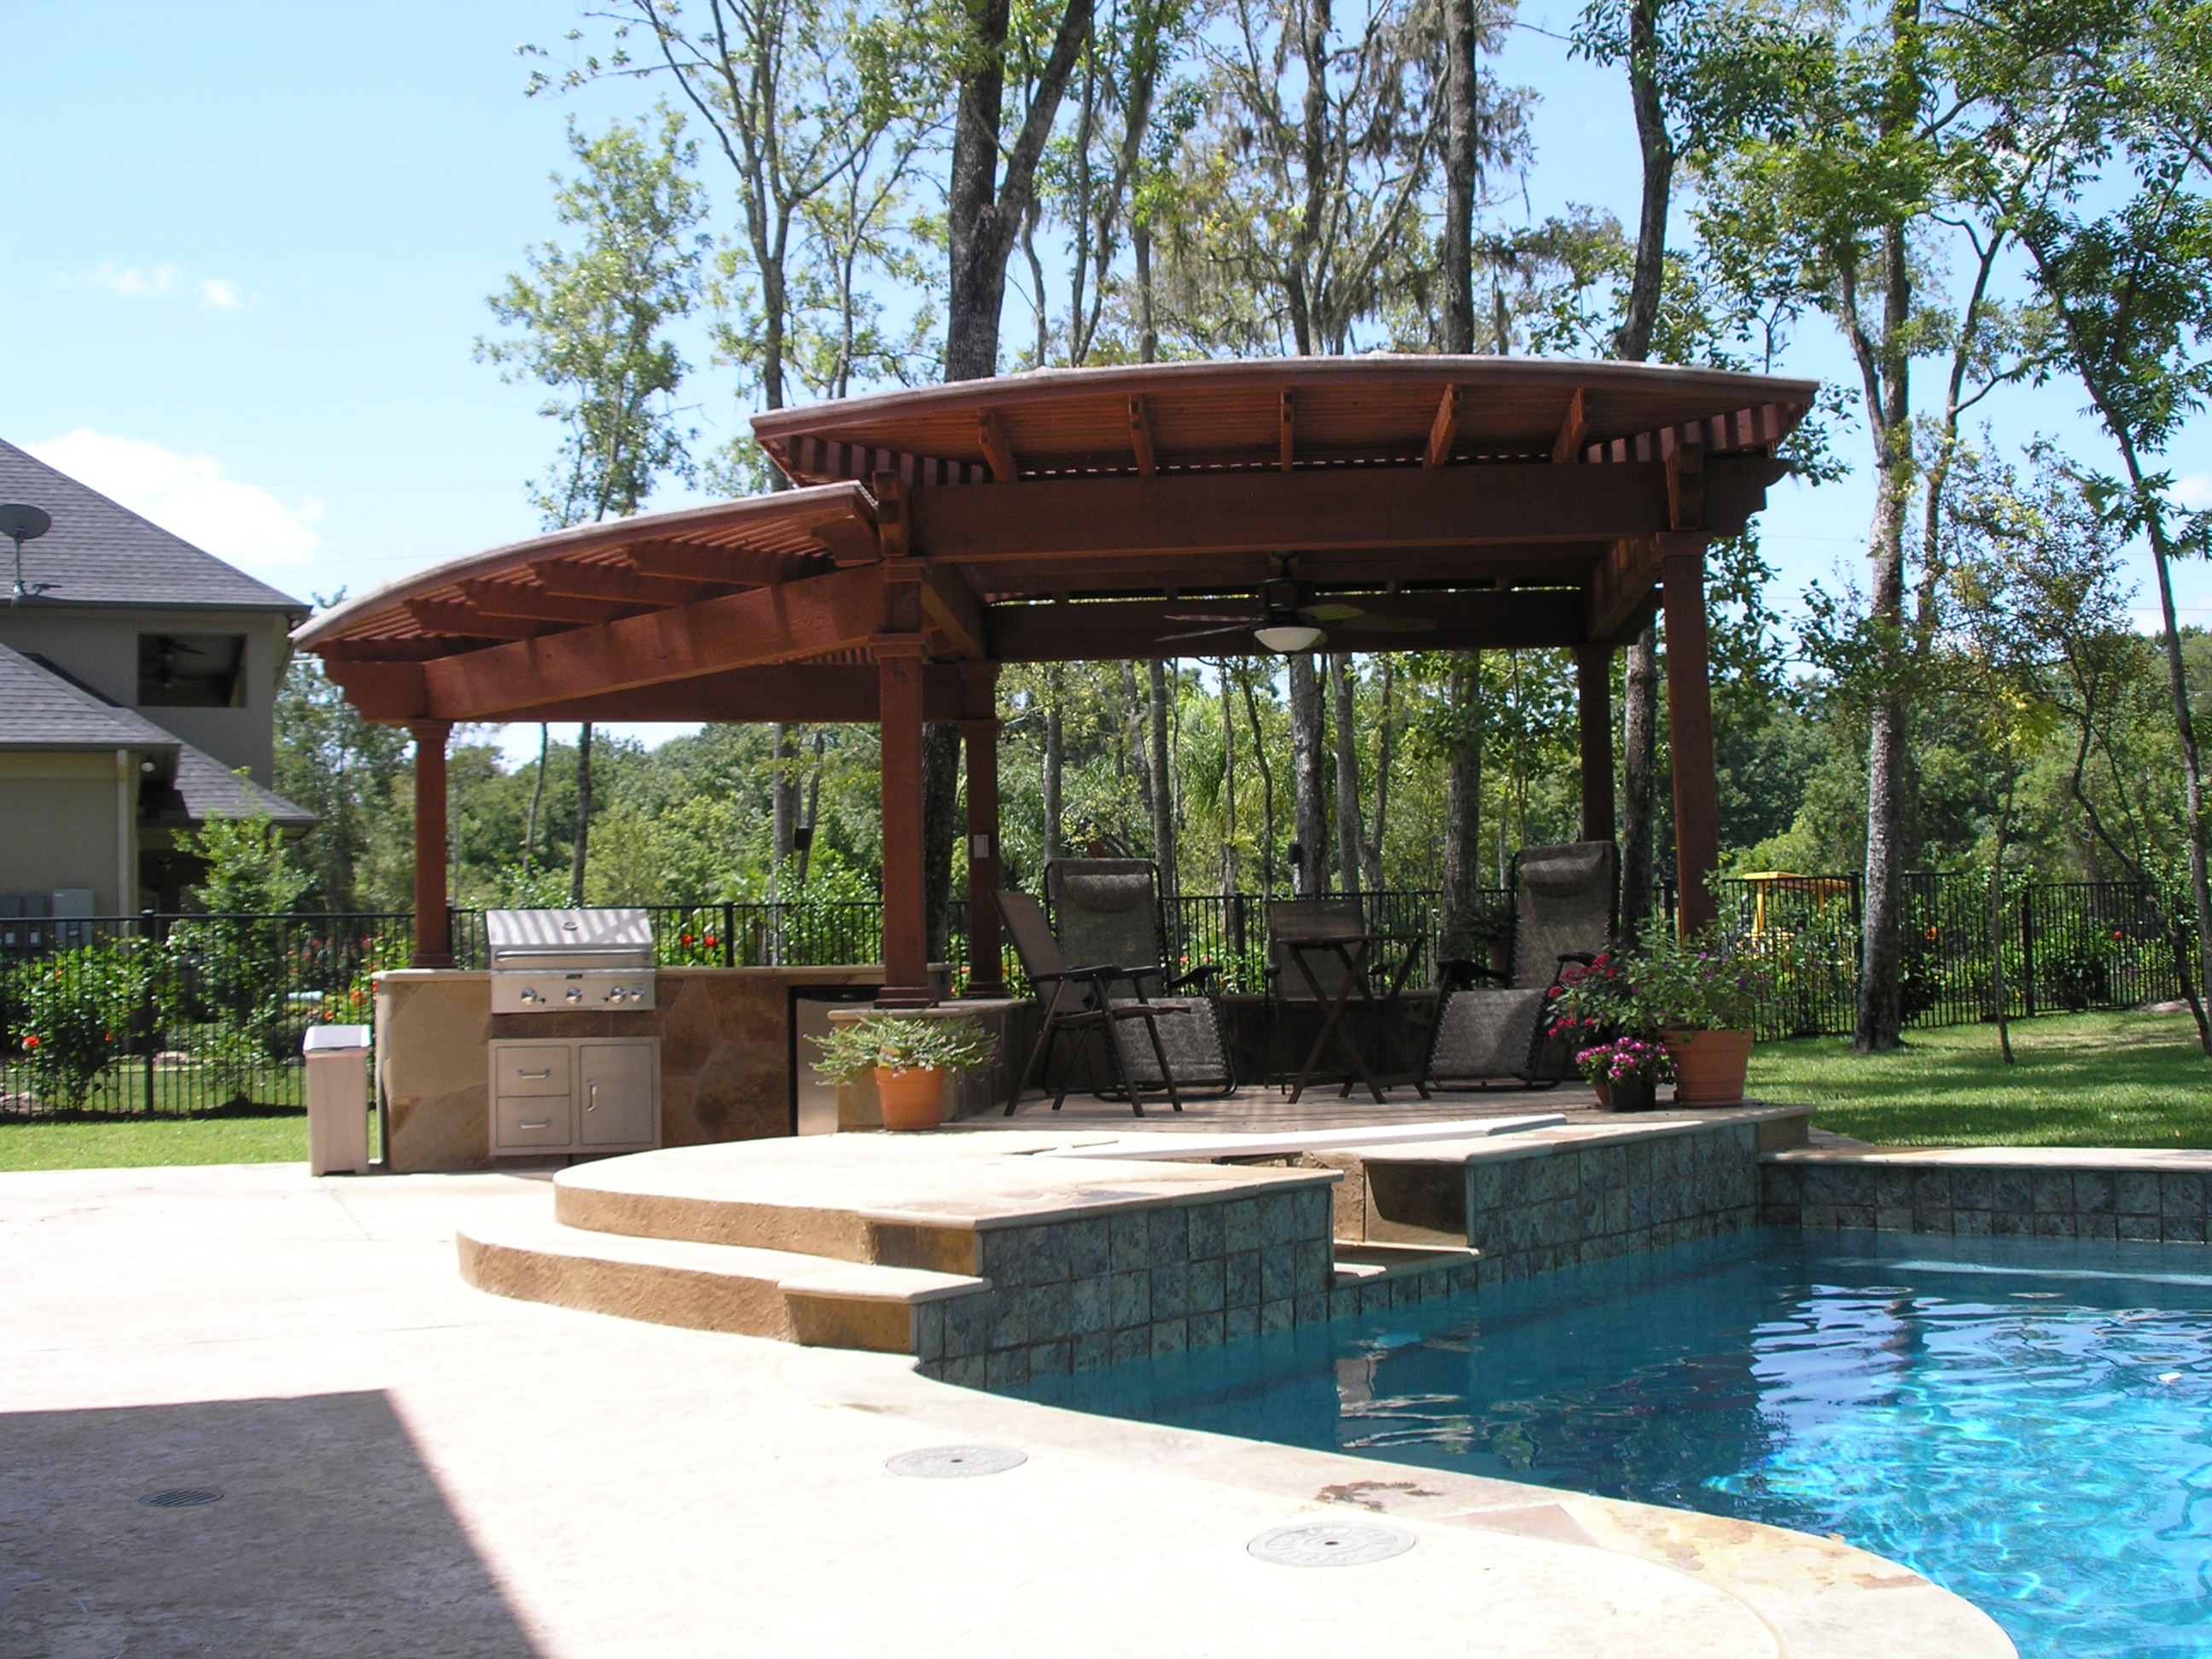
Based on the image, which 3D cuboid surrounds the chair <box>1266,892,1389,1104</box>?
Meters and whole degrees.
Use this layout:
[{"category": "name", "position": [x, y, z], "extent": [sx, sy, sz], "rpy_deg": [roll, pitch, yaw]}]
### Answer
[{"category": "chair", "position": [1.431, 1.065, 14.171], "extent": [1.002, 1.477, 1.169], "rpy_deg": [0, -5, -7]}]

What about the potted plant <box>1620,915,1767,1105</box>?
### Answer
[{"category": "potted plant", "position": [3.463, 1.067, 12.639], "extent": [0.654, 1.087, 0.669], "rpy_deg": [3, 0, -3]}]

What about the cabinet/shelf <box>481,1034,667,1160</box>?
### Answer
[{"category": "cabinet/shelf", "position": [-3.506, 1.785, 13.910], "extent": [1.065, 0.817, 0.206], "rpy_deg": [1, 4, -13]}]

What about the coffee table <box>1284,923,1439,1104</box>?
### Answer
[{"category": "coffee table", "position": [1.654, 1.228, 14.123], "extent": [0.843, 1.187, 0.776], "rpy_deg": [0, -1, 33]}]

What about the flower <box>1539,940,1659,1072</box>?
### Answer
[{"category": "flower", "position": [2.973, 1.090, 12.753], "extent": [0.683, 0.642, 0.677], "rpy_deg": [-1, 5, 14]}]

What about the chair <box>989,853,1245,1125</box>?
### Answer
[{"category": "chair", "position": [0.033, 0.998, 13.319], "extent": [1.386, 1.542, 1.860], "rpy_deg": [2, 3, 0]}]

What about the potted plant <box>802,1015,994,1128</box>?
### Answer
[{"category": "potted plant", "position": [-1.196, 1.402, 12.279], "extent": [0.878, 0.646, 0.694], "rpy_deg": [1, 3, -12]}]

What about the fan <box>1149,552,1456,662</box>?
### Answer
[{"category": "fan", "position": [1.193, -1.521, 14.938], "extent": [1.844, 0.686, 1.227], "rpy_deg": [1, -2, 18]}]

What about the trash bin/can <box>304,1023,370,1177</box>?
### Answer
[{"category": "trash bin/can", "position": [-5.005, 1.751, 13.742], "extent": [0.358, 0.941, 0.634], "rpy_deg": [1, 4, -18]}]
